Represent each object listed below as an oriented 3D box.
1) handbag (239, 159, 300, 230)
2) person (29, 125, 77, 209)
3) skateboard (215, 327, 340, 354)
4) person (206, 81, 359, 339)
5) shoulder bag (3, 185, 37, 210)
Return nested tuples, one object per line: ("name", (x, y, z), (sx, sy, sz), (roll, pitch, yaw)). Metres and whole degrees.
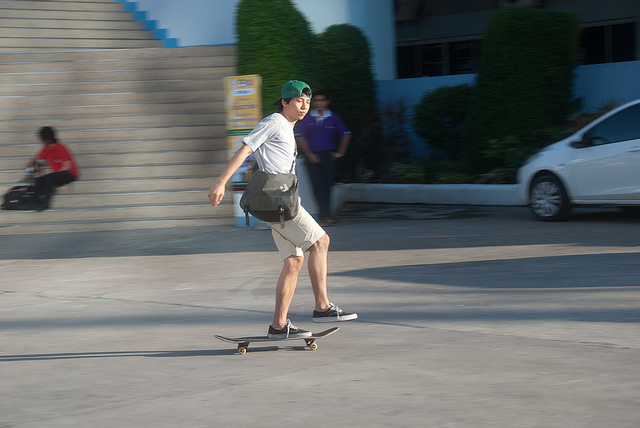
("handbag", (-0.541, -0.216, 8.961), (0.636, 0.706, 0.257), (1, 7, -2))
("person", (-5.375, -0.929, 16.763), (0.836, 1.642, 0.466), (0, 7, -9))
("skateboard", (-0.768, 1.344, 8.952), (2.050, 0.199, 0.361), (-1, 1, -5))
("person", (-0.344, -0.071, 9.097), (1.514, 2.794, 0.866), (2, 7, 1))
("shoulder bag", (-6.086, -0.344, 16.836), (0.665, 0.483, 0.296), (0, 7, -11))
